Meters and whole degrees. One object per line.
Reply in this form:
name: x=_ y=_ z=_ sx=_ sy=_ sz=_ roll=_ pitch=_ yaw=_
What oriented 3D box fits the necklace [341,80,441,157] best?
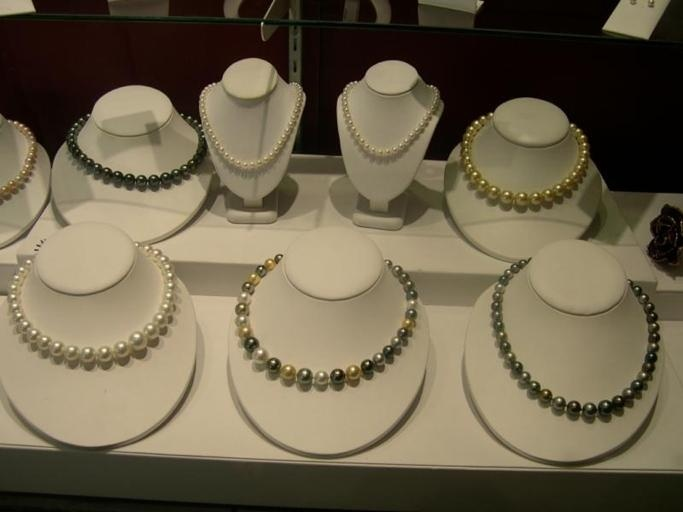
necklace: x=0.110 y=-0.310 z=1.626 sx=0.226 sy=0.086 sz=0.158 roll=6 pitch=56 yaw=-2

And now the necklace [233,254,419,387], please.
necklace: x=-0.027 y=0.131 z=1.485 sx=0.384 sy=0.107 sz=0.296 roll=-1 pitch=58 yaw=-7

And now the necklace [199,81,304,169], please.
necklace: x=-0.207 y=-0.300 z=1.639 sx=0.237 sy=0.108 sz=0.171 roll=4 pitch=56 yaw=-4

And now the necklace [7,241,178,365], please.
necklace: x=-0.508 y=0.099 z=1.462 sx=0.336 sy=0.055 sz=0.261 roll=-5 pitch=59 yaw=-10
